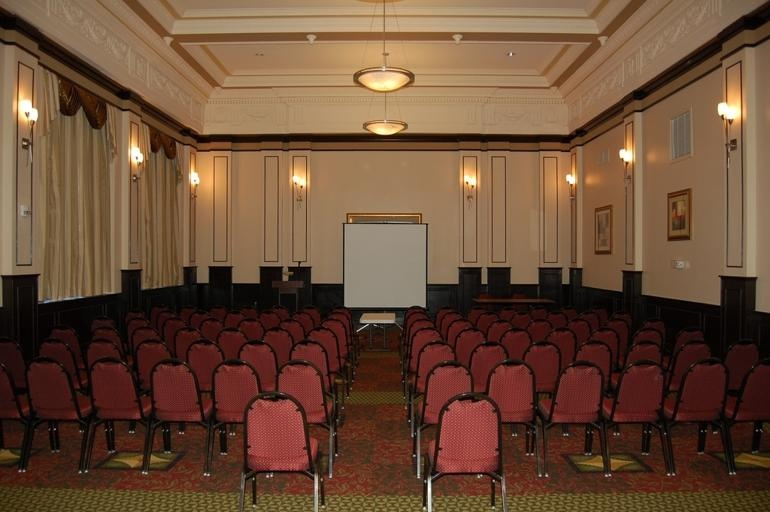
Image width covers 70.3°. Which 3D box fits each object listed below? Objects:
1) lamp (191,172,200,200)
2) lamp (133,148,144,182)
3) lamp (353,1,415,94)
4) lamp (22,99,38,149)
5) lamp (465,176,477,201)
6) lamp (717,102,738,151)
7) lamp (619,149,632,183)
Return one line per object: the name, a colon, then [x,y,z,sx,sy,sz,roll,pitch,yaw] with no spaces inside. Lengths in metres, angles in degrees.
lamp: [-5.016,-1.869,14.377,0.133,0.681,0.415,1,0,0]
lamp: [-5.245,-1.950,11.595,0.126,0.666,0.400,1,0,-5]
lamp: [-0.021,-3.966,10.855,1.070,1.673,2.289,1,0,-1]
lamp: [-5.785,-2.134,8.933,0.143,0.725,0.351,1,0,-3]
lamp: [2.289,-1.819,14.526,0.319,0.637,0.075,1,0,10]
lamp: [5.562,-2.099,8.934,0.265,0.866,0.330,1,0,4]
lamp: [5.173,-1.966,11.732,0.156,0.740,0.476,1,0,5]
